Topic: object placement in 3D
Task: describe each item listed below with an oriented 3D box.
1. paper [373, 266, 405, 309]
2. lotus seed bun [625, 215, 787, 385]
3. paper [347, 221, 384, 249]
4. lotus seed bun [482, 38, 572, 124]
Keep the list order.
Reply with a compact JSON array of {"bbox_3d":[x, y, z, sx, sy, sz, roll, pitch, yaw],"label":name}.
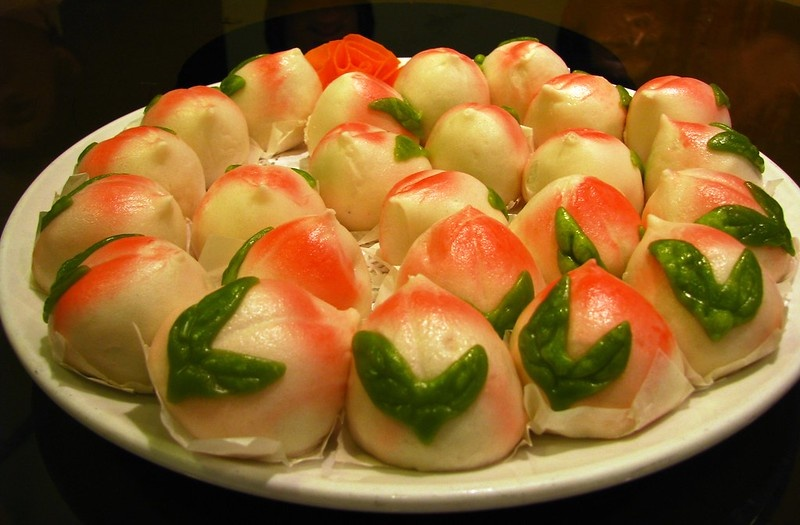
[{"bbox_3d":[-0.035,0.034,1.360,0.070,0.021,0.092,-6,24,-16],"label":"paper"},{"bbox_3d":[0.590,0.064,1.310,0.238,0.175,0.300,-33,77,3],"label":"lotus seed bun"},{"bbox_3d":[-0.076,-0.066,1.515,0.063,0.023,0.046,-34,74,18],"label":"paper"},{"bbox_3d":[0.319,-0.500,1.750,0.204,0.141,0.249,5,60,5],"label":"lotus seed bun"}]
